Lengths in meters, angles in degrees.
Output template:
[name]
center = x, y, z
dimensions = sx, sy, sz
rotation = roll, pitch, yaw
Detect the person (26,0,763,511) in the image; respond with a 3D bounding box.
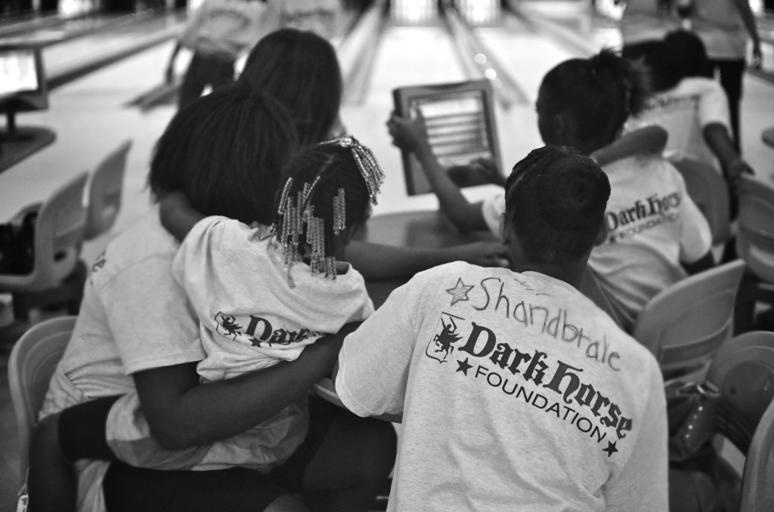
[person]
center = -0.285, 0.028, 2.037
dimensions = 1.253, 1.144, 0.542
rotation = -16, 23, -31

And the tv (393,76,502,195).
[tv]
center = 0.181, -0.365, 2.443
dimensions = 0.359, 0.345, 0.085
rotation = -14, 14, -31
